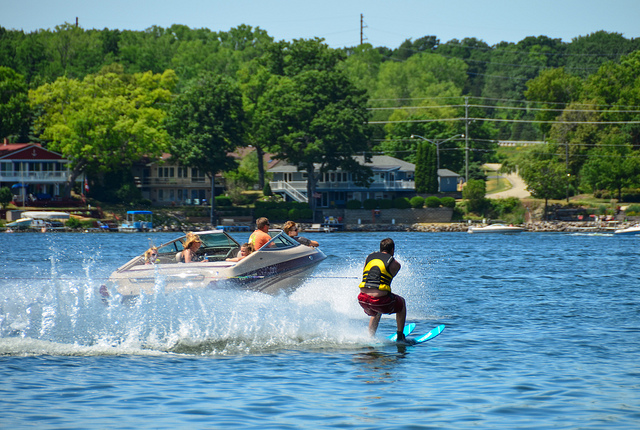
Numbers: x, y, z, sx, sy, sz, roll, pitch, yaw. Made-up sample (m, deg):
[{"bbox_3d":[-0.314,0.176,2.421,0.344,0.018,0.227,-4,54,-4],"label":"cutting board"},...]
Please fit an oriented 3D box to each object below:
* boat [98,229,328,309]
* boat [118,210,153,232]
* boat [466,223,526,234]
[{"bbox_3d":[-7.198,3.512,86.409,15.286,4.887,7.429,-2,2,-1],"label":"boat"},{"bbox_3d":[-20.115,0.822,136.427,2.820,1.630,2.770,-2,-2,42],"label":"boat"},{"bbox_3d":[19.367,1.675,138.438,6.213,1.007,1.819,-2,1,6],"label":"boat"}]
